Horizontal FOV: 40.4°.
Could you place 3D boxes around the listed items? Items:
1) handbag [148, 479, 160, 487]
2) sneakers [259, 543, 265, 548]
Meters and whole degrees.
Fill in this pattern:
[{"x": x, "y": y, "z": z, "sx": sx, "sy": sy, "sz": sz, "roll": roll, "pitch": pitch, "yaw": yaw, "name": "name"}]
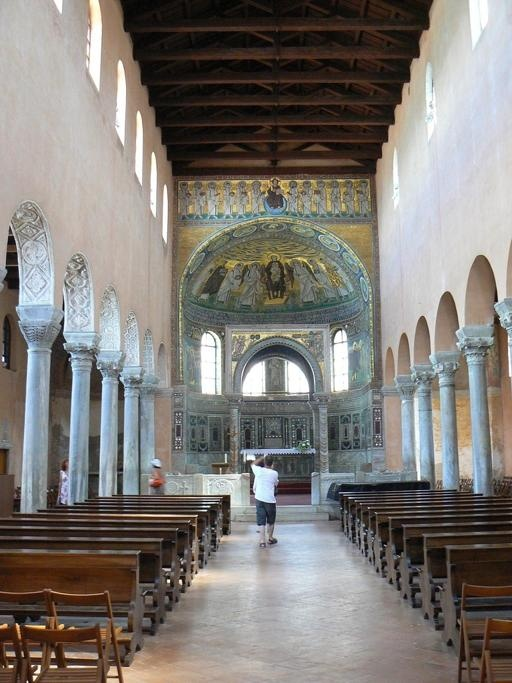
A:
[{"x": -2.194, "y": 3.112, "z": 15.189, "sx": 0.243, "sy": 0.221, "sz": 0.486, "roll": 12, "pitch": -9, "yaw": -8, "name": "handbag"}, {"x": 0.127, "y": 4.199, "z": 14.296, "sx": 0.091, "sy": 0.104, "sz": 0.257, "roll": 0, "pitch": -15, "yaw": 3, "name": "sneakers"}]
